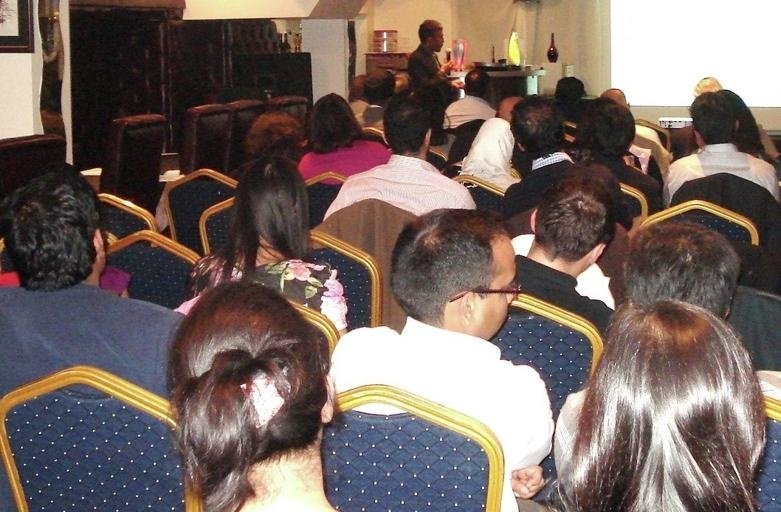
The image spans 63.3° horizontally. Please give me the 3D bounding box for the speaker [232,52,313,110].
[{"bbox_3d":[-1.463,-1.991,7.686,1.031,0.713,0.559,-4,-18,-7],"label":"speaker"}]

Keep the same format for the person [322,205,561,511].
[{"bbox_3d":[0.139,0.301,1.696,0.597,0.739,0.594,0,18,-15],"label":"person"}]

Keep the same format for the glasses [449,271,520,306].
[{"bbox_3d":[0.285,0.075,1.778,0.128,0.038,0.097,-8,9,-16],"label":"glasses"}]

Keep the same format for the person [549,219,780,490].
[{"bbox_3d":[0.848,0.131,2.156,0.640,0.573,0.857,8,2,-10],"label":"person"}]

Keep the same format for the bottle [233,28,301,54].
[{"bbox_3d":[-1.671,-2.915,8.450,0.940,0.441,0.322,-3,19,-24],"label":"bottle"}]
